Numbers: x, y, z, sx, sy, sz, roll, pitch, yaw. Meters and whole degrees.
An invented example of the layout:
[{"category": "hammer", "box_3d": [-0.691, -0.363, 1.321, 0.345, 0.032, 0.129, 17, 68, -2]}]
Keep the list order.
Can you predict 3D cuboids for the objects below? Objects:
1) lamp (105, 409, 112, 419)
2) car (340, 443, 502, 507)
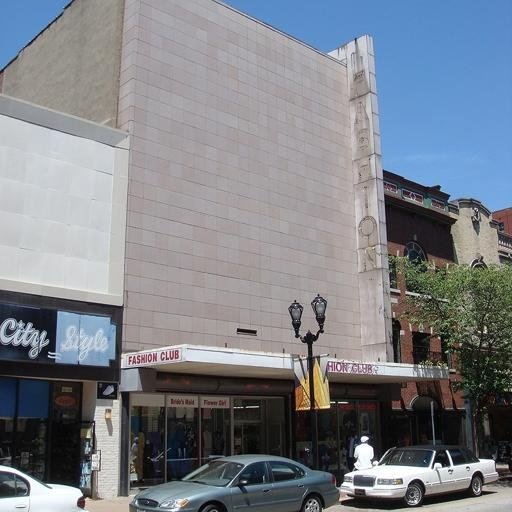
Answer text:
[{"category": "lamp", "box_3d": [-4.674, 4.985, 18.435, 0.248, 0.396, 0.186, 4, -10, -38]}, {"category": "car", "box_3d": [4.698, 6.222, 16.646, 4.408, 1.530, 1.795, 12, -24, -36]}]
